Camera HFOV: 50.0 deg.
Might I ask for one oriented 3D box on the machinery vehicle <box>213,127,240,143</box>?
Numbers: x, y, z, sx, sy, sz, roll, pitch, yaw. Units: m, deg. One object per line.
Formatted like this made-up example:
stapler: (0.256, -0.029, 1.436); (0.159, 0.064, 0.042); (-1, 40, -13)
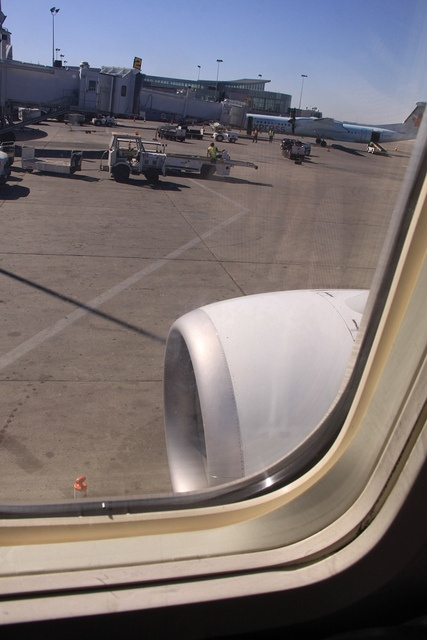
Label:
machinery vehicle: (1.435, -21.152, 52.031); (2.252, 1.337, 1.507); (-6, 28, -14)

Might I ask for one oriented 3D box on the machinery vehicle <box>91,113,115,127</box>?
machinery vehicle: (-12.398, -22.629, 51.765); (2.378, 1.095, 1.436); (-11, 26, -39)

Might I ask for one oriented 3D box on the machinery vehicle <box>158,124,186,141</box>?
machinery vehicle: (-3.869, -19.067, 46.457); (2.625, 1.286, 1.754); (-10, 27, -28)
